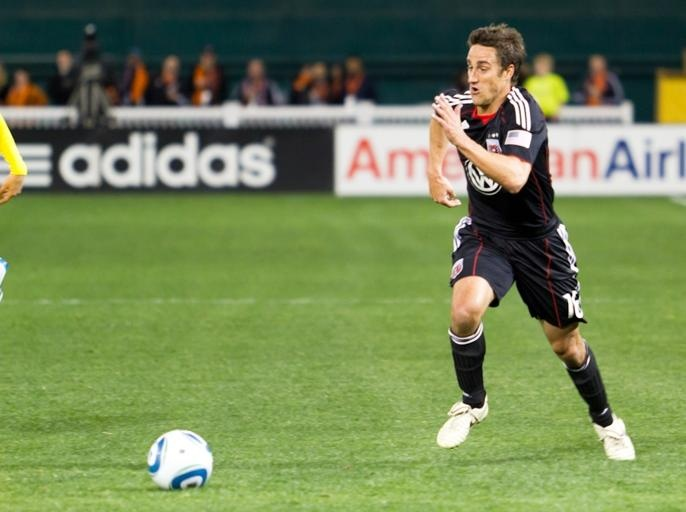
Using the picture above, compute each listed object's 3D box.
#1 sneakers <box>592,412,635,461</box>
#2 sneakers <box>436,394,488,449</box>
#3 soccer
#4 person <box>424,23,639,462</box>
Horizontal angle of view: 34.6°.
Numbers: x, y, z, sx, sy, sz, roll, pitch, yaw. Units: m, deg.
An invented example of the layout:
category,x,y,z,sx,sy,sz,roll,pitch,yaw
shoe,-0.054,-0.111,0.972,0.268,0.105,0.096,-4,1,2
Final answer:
category,x,y,z,sx,sy,sz,roll,pitch,yaw
sneakers,1.498,1.010,6.079,0.135,0.115,0.308,28,33,-36
sneakers,0.647,0.921,6.148,0.151,0.153,0.388,31,64,34
soccer,-0.824,1.025,5.631,0.315,0.300,0.290,-6,0,-10
person,1.068,-0.127,6.208,1.170,2.331,0.855,1,11,3
